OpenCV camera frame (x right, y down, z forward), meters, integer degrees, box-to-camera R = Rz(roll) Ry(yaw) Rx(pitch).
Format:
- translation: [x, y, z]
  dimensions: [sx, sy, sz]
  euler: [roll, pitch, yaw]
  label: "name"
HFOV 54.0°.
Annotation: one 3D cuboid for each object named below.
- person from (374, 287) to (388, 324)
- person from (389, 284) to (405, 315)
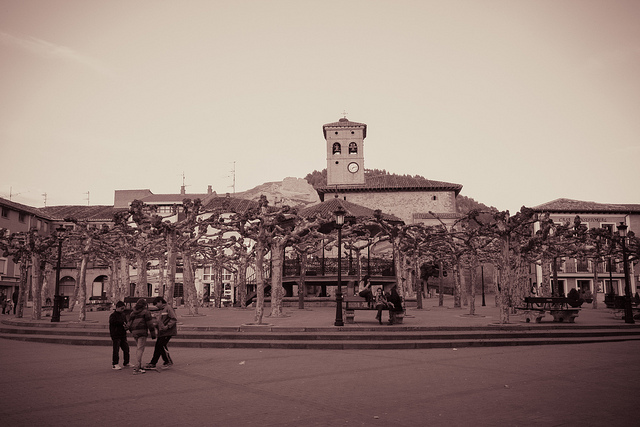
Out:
- translation: [2.973, 4.424, 30.422]
  dimensions: [0.560, 1.735, 1.176]
  euler: [-2, -10, 3]
  label: "person"
- translation: [3.734, 4.217, 30.449]
  dimensions: [0.556, 1.269, 1.441]
  euler: [-3, -10, 9]
  label: "person"
